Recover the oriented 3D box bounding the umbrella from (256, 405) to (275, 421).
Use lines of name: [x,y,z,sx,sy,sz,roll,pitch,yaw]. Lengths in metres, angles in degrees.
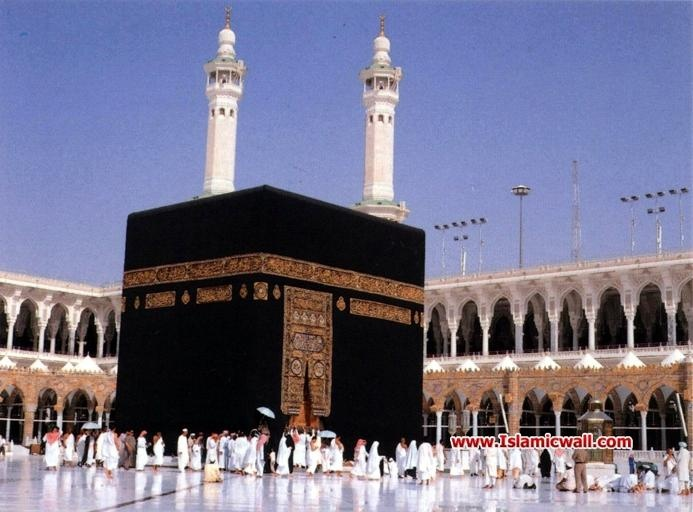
umbrella: [-1.967,3.907,25.227,0.337,0.167,0.342,2,-35,49]
